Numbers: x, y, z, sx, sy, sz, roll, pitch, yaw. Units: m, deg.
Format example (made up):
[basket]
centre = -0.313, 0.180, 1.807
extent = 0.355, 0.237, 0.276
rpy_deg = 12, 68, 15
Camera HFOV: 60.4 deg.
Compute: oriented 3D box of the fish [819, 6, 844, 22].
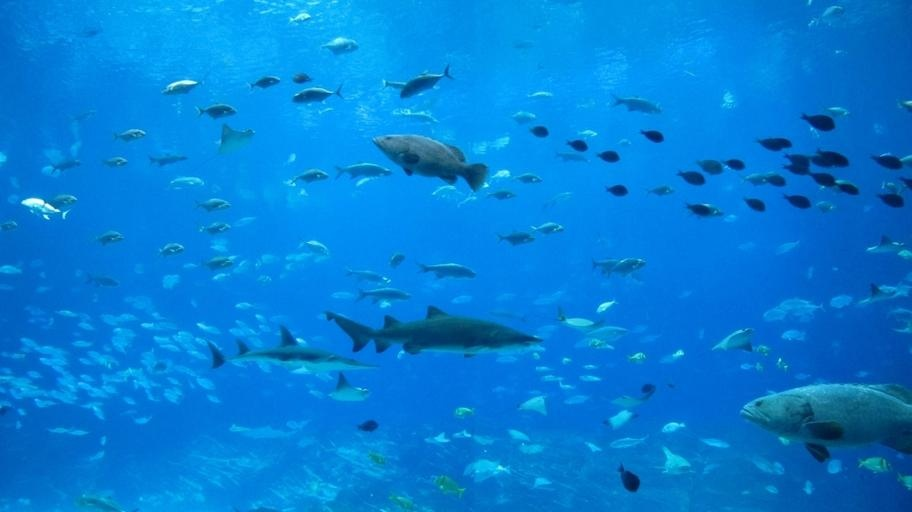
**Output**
[fish]
centre = 29.533, -19.150, 61.696
extent = 1.494, 1.139, 2.289
rpy_deg = 7, 27, 21
